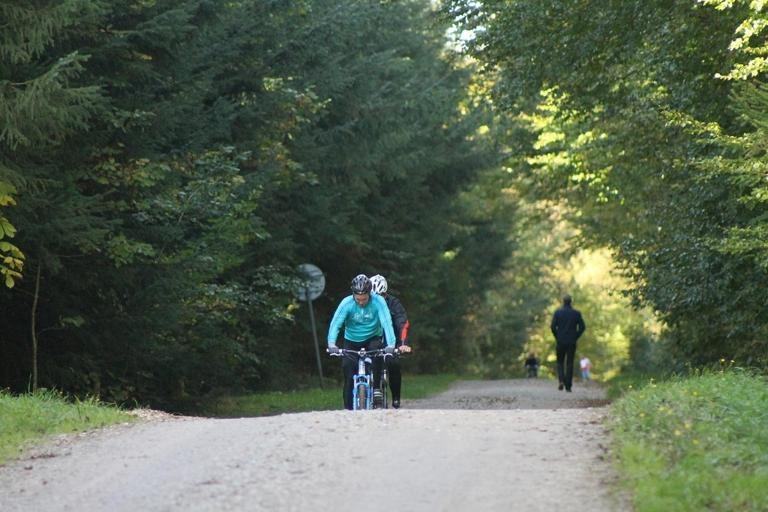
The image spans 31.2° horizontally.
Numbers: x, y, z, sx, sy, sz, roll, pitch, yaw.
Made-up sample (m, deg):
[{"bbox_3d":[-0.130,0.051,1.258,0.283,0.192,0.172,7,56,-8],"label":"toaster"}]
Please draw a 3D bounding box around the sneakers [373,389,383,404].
[{"bbox_3d":[-0.120,2.711,26.094,0.189,0.223,0.239,0,-9,-1],"label":"sneakers"}]

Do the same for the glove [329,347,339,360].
[{"bbox_3d":[-1.018,1.881,26.128,0.265,0.236,0.221,3,0,11],"label":"glove"}]

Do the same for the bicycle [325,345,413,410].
[{"bbox_3d":[-0.282,2.338,26.056,1.273,1.243,0.857,3,-13,-20],"label":"bicycle"}]

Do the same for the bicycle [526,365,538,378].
[{"bbox_3d":[5.437,4.205,49.730,0.525,0.586,0.522,0,-8,-2],"label":"bicycle"}]

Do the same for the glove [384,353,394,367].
[{"bbox_3d":[0.106,1.974,25.968,0.175,0.237,0.218,-1,-10,1],"label":"glove"}]

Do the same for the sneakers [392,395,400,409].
[{"bbox_3d":[0.232,2.863,26.431,0.142,0.192,0.197,2,-21,1],"label":"sneakers"}]
